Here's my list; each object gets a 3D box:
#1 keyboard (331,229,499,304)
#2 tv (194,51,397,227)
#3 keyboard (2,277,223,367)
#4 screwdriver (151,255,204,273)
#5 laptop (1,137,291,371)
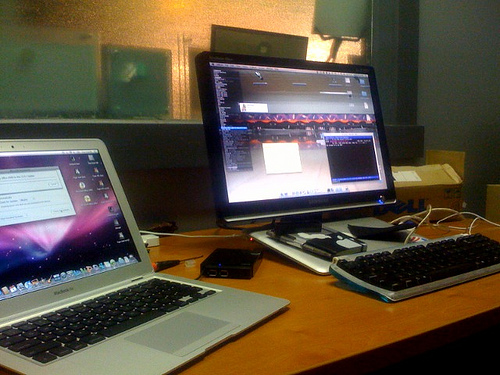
[{"bbox_3d":[0.400,0.160,0.853,0.438,0.060,0.163,-9,9,-25],"label":"keyboard"},{"bbox_3d":[0.166,-0.151,1.150,0.741,0.444,0.084,-7,3,-37],"label":"tv"},{"bbox_3d":[-0.228,0.213,0.669,0.337,0.024,0.146,-12,11,-40],"label":"keyboard"},{"bbox_3d":[-0.176,0.182,0.926,0.019,0.015,0.125,-38,-21,35],"label":"screwdriver"},{"bbox_3d":[-0.239,0.072,0.675,0.472,0.260,0.423,7,7,33],"label":"laptop"}]
